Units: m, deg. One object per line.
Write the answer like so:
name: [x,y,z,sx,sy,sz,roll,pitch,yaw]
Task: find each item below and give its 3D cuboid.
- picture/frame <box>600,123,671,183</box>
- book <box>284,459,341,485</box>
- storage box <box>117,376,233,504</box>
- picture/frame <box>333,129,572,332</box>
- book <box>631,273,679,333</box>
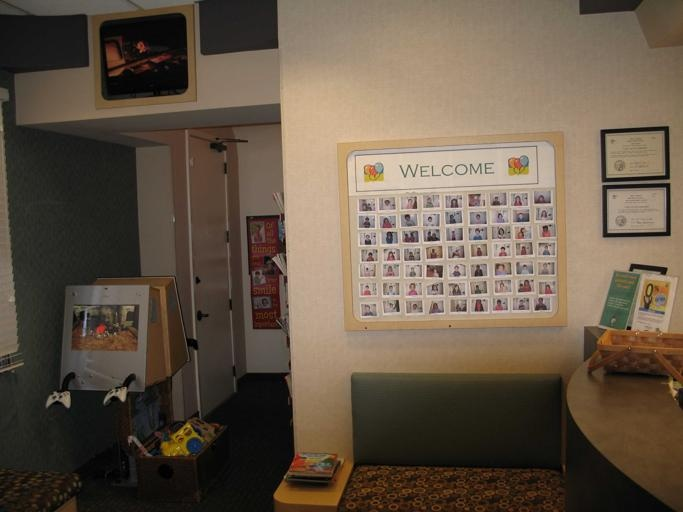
picture/frame: [1.878,-0.655,3.466,0.377,0.325,0.027,0,2,5]
book: [-0.186,1.350,3.456,0.174,0.044,0.186,-2,9,8]
storage box: [-1.297,1.396,4.333,0.611,0.779,0.806,-1,1,2]
picture/frame: [0.792,-0.202,3.588,1.303,1.095,0.053,-1,1,6]
book: [1.898,0.277,3.331,0.228,0.337,0.151,3,5,37]
